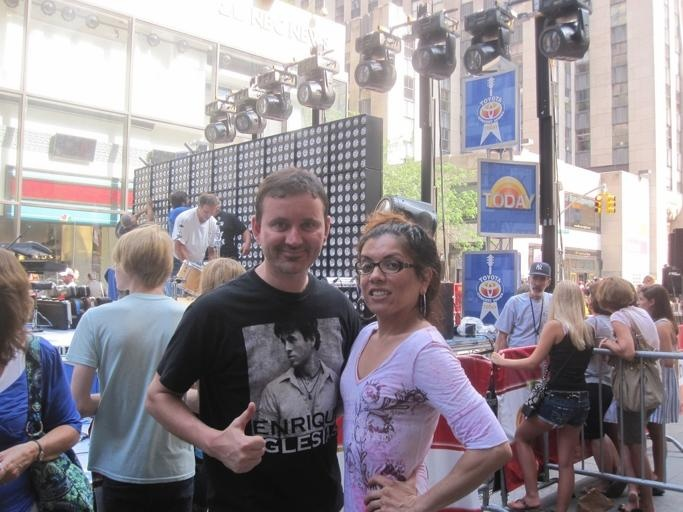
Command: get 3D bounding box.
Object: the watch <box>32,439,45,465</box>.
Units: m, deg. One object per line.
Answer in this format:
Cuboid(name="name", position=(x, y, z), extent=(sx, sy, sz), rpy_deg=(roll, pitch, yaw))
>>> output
Cuboid(name="watch", position=(-1.771, 1.145, 4.018), extent=(0.027, 0.102, 0.098), rpy_deg=(-3, -24, -15))
